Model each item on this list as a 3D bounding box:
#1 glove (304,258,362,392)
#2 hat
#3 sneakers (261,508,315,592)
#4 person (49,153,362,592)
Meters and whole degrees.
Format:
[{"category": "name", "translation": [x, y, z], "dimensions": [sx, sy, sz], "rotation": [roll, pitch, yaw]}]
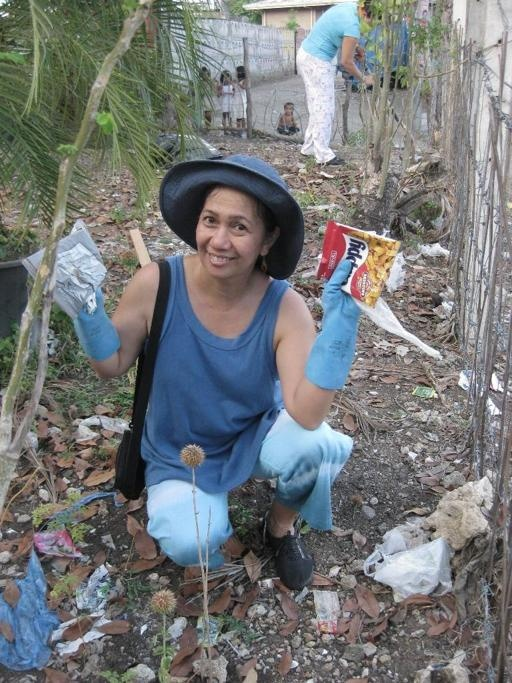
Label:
[{"category": "glove", "translation": [0.200, -0.040, 1.544], "dimensions": [0.133, 0.343, 0.092], "rotation": [-4, 14, -19]}, {"category": "hat", "translation": [-0.002, -0.340, 1.644], "dimensions": [0.328, 0.421, 0.130], "rotation": [6, 58, 28]}, {"category": "sneakers", "translation": [0.115, 0.676, 1.939], "dimensions": [0.129, 0.099, 0.280], "rotation": [-4, 26, -11]}, {"category": "person", "translation": [-0.071, 0.107, 1.709], "dimensions": [0.825, 1.137, 0.700], "rotation": [8, 17, 14]}]
